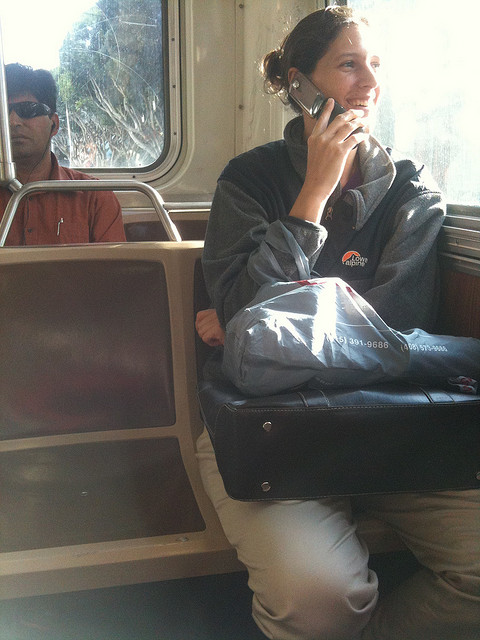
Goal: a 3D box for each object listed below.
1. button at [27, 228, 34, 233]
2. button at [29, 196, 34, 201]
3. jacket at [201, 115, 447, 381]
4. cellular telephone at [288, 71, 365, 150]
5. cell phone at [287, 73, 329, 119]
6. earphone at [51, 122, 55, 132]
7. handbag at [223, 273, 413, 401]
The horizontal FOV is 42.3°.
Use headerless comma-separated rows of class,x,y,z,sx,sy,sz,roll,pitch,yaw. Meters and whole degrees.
button,-0.759,-0.325,2.233,0.021,0.019,0.005,0,4,-26
button,-0.750,-0.436,2.223,0.014,0.013,0.004,-10,-18,-29
jacket,0.168,-0.145,1.282,0.481,0.505,0.325,4,14,-2
cellular telephone,0.145,-0.488,1.378,0.070,0.073,0.282,-11,52,-42
cell phone,0.144,-0.476,1.312,0.038,0.056,0.119,-5,47,-45
earphone,-0.742,-0.767,2.447,0.019,0.019,0.007,6,14,0
handbag,0.109,0.016,0.937,0.247,0.095,0.179,-6,39,-10
